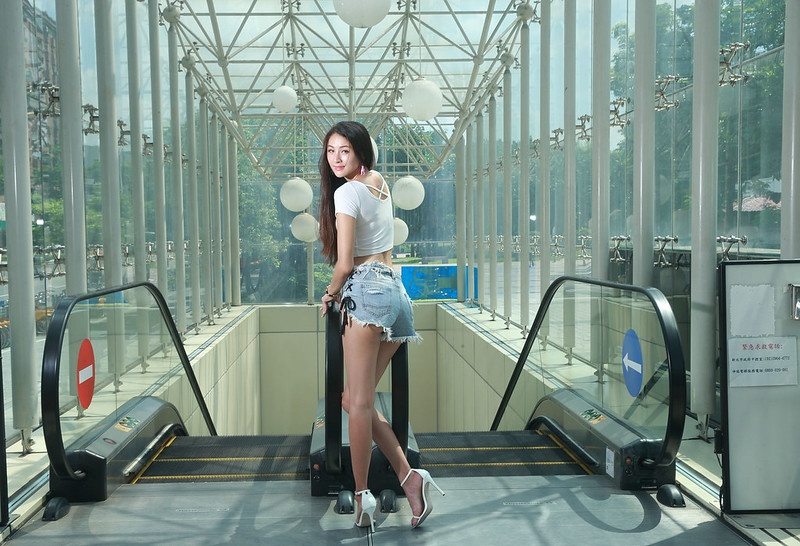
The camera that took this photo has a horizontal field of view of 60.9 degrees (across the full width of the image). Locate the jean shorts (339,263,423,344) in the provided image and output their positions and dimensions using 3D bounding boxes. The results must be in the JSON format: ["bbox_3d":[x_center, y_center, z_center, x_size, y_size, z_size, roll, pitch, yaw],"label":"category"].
[{"bbox_3d":[-0.159,0.242,5.464,0.639,0.681,0.244,-2,4,-8],"label":"jean shorts"}]

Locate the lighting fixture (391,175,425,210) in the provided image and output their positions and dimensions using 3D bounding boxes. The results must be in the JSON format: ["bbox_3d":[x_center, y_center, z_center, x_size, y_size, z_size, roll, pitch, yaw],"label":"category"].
[{"bbox_3d":[0.107,-1.551,13.626,0.618,0.754,0.641,-1,-2,29],"label":"lighting fixture"}]

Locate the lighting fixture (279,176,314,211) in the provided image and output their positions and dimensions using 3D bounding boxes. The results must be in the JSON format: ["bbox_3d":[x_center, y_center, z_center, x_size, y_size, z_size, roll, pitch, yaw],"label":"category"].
[{"bbox_3d":[-2.237,-1.623,14.145,0.671,0.846,0.691,-12,8,-21],"label":"lighting fixture"}]

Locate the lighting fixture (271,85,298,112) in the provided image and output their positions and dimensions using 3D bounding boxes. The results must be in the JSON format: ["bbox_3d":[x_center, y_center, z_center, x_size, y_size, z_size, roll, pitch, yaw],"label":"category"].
[{"bbox_3d":[-2.248,-3.246,12.893,0.470,0.594,0.487,2,1,25],"label":"lighting fixture"}]

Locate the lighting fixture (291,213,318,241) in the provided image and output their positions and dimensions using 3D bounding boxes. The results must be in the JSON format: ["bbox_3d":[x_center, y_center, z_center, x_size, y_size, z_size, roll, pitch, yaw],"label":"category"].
[{"bbox_3d":[-2.171,-1.021,15.409,0.630,0.626,0.769,-5,11,-13],"label":"lighting fixture"}]

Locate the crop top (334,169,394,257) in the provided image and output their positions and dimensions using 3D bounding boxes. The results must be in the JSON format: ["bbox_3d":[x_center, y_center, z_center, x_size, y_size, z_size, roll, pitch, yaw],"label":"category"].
[{"bbox_3d":[-0.256,-0.446,5.604,0.329,0.633,0.616,-6,4,30],"label":"crop top"}]

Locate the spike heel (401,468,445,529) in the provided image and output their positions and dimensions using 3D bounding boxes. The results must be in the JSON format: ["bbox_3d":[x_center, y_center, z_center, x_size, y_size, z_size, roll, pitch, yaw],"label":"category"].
[{"bbox_3d":[0.169,1.744,5.446,0.227,0.633,0.203,1,1,12],"label":"spike heel"}]
